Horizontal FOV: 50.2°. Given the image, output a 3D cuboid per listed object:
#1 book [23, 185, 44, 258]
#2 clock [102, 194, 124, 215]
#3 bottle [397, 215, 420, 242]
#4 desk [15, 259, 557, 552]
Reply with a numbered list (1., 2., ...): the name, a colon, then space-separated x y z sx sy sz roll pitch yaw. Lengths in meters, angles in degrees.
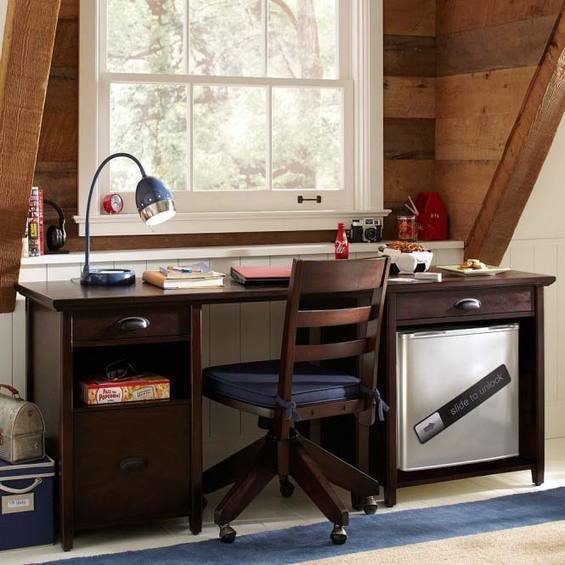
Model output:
1. book: -0.930 -0.229 2.282 0.057 0.263 0.117 -1 -1 6
2. clock: -0.711 -0.329 2.513 0.052 0.073 0.094 -3 5 40
3. bottle: 0.619 -0.270 2.974 0.090 0.135 0.105 -1 -1 9
4. desk: 0.071 0.373 2.291 1.927 0.885 0.951 0 -1 -26
